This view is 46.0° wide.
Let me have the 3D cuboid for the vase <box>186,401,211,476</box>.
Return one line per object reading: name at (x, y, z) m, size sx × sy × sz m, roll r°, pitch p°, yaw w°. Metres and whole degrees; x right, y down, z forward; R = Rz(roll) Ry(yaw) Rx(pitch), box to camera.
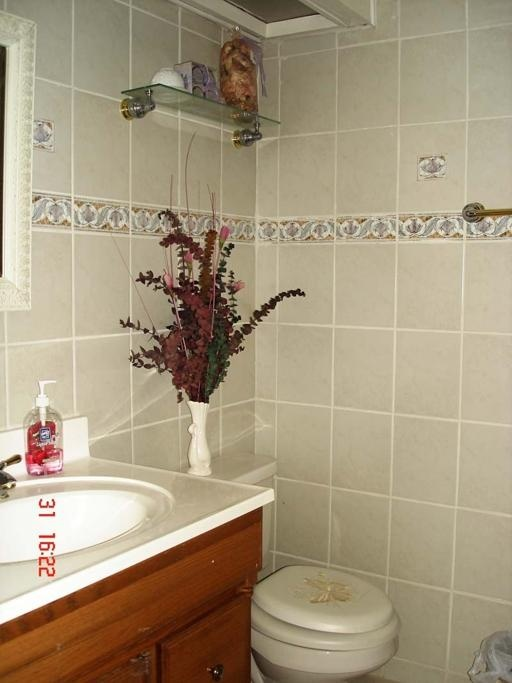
vase at (-0.167, 0.272, 1.702) m, size 0.082 × 0.205 × 0.075 m, roll -6°, pitch -8°, yaw 31°
